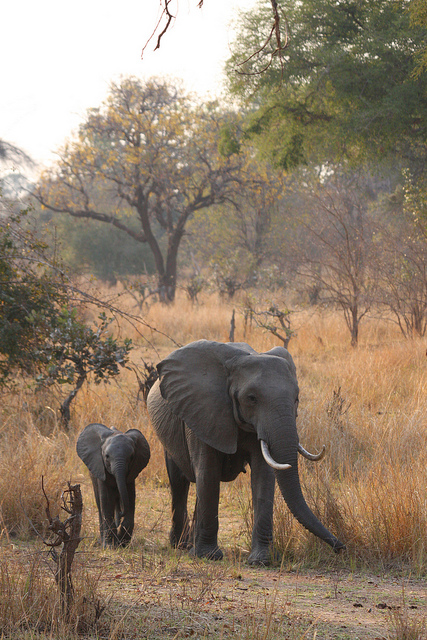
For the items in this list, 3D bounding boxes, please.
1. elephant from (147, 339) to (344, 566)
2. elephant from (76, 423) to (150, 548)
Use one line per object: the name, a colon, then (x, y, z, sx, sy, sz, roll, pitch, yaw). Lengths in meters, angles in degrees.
elephant: (0.096, 0.986, 8.928, 0.886, 1.912, 2.057, -13, 11, -37)
elephant: (-0.848, 1.347, 9.346, 0.587, 1.009, 0.566, -3, -6, 25)
